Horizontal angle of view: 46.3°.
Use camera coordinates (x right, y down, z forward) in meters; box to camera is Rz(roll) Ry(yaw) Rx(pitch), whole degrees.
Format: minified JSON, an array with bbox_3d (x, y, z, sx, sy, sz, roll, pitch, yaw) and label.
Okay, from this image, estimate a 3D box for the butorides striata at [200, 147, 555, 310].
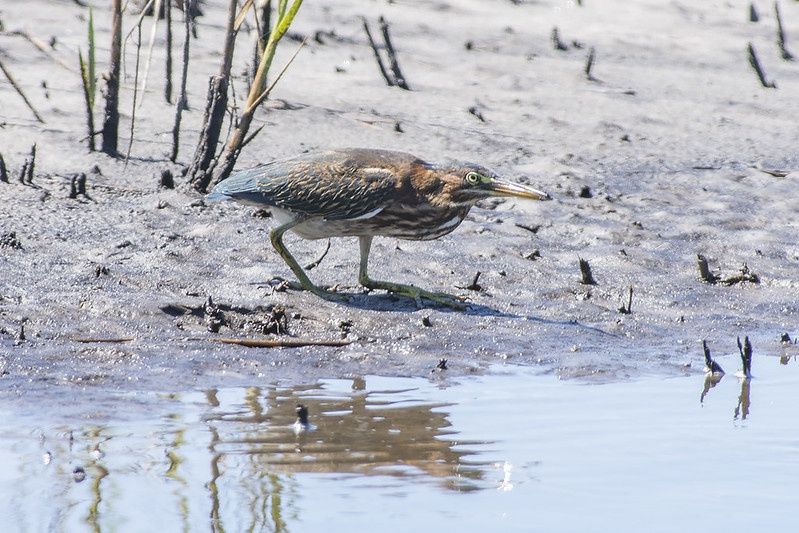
[{"bbox_3d":[-0.255,-0.428,7.792,2.866,0.847,0.758,4,7,20],"label":"butorides striata"}]
